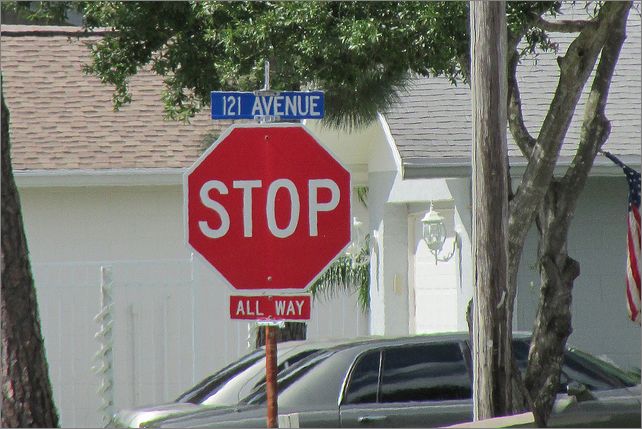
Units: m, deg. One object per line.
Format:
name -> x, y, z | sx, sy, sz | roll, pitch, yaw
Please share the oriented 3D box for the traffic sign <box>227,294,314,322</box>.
traffic sign -> -0.633, 1.305, 31.095 | 1.079, 0.308, 0.152 | -3, 1, -1
